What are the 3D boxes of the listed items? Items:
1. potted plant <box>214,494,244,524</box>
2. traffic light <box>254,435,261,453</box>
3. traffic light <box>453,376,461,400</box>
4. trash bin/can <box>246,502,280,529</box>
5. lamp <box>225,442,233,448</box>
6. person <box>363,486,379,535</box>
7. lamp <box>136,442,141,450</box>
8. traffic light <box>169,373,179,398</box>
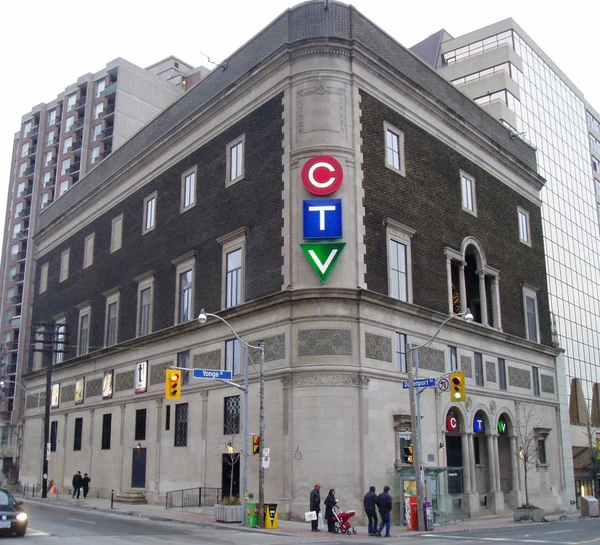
[{"bbox_3d":[-3.555,11.848,33.986,1.382,1.232,1.511,5,-21,-17],"label":"potted plant"},{"bbox_3d":[-2.038,8.106,32.758,0.340,0.887,0.863,1,-22,-5],"label":"traffic light"},{"bbox_3d":[7.259,5.352,31.906,0.182,1.063,0.553,8,-22,-23],"label":"traffic light"},{"bbox_3d":[-1.747,11.271,31.847,1.099,0.900,1.224,7,-23,-12],"label":"trash bin/can"},{"bbox_3d":[-4.048,9.964,39.541,0.219,0.384,0.352,-14,-22,41],"label":"lamp"},{"bbox_3d":[3.231,10.827,31.322,0.566,2.205,1.579,-3,-21,5],"label":"person"},{"bbox_3d":[-11.124,12.063,47.781,0.284,0.436,0.457,-1,-60,-2],"label":"lamp"},{"bbox_3d":[-6.266,5.623,34.702,0.338,1.333,0.668,-13,-24,30],"label":"traffic light"}]
